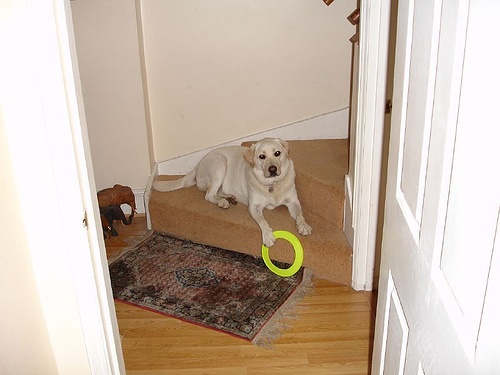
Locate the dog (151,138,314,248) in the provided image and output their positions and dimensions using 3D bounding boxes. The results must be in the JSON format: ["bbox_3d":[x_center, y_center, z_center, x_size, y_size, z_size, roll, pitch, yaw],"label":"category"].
[{"bbox_3d":[-0.061,-0.058,3.286,0.694,0.505,1.054,-22,45,-30],"label":"dog"}]

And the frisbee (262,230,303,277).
[{"bbox_3d":[0.244,0.486,2.799,0.335,0.324,0.025,-24,-12,34],"label":"frisbee"}]

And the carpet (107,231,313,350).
[{"bbox_3d":[-0.373,0.698,2.907,1.587,0.059,0.870,7,27,25],"label":"carpet"}]
